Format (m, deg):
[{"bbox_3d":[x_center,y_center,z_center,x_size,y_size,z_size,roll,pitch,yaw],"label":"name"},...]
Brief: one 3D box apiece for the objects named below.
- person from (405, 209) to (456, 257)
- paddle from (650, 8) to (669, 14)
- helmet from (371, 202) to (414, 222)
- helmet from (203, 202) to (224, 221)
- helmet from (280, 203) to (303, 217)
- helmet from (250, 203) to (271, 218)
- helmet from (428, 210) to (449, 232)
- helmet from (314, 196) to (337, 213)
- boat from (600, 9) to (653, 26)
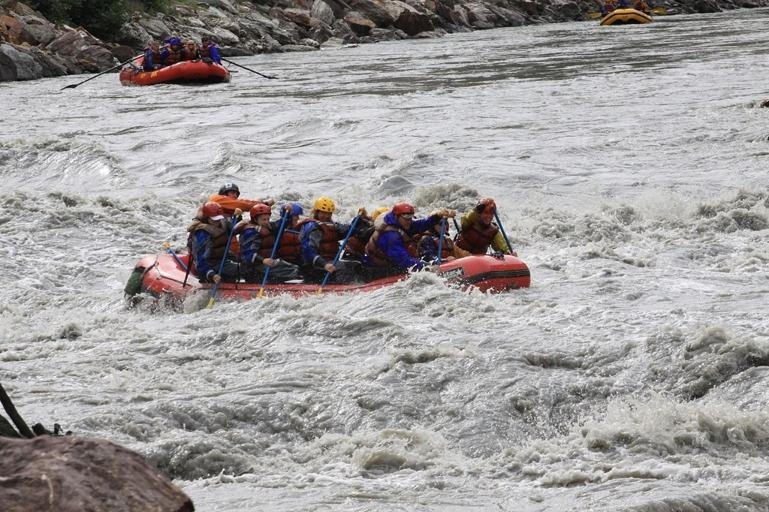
[{"bbox_3d":[0.745,-0.418,28.109,1.239,1.106,1.159,6,4,15],"label":"person"},{"bbox_3d":[16.812,-14.983,82.635,0.950,0.413,1.244,-3,11,9],"label":"paddle"},{"bbox_3d":[0.149,-0.912,27.897,0.789,0.203,0.419,-4,4,12],"label":"helmet"},{"bbox_3d":[-3.609,-0.942,28.016,0.502,0.209,0.322,24,46,23],"label":"helmet"},{"bbox_3d":[-1.966,-0.967,28.250,0.534,0.341,0.333,-10,12,-1],"label":"helmet"},{"bbox_3d":[-2.653,-0.945,28.217,0.467,0.303,0.342,-3,13,12],"label":"helmet"},{"bbox_3d":[1.093,-0.724,27.816,0.406,0.399,0.177,21,30,36],"label":"helmet"},{"bbox_3d":[-1.316,-1.076,28.374,0.425,0.225,0.524,5,-6,-24],"label":"helmet"},{"bbox_3d":[13.320,-13.083,74.150,3.022,0.790,4.888,-1,7,11],"label":"boat"}]
